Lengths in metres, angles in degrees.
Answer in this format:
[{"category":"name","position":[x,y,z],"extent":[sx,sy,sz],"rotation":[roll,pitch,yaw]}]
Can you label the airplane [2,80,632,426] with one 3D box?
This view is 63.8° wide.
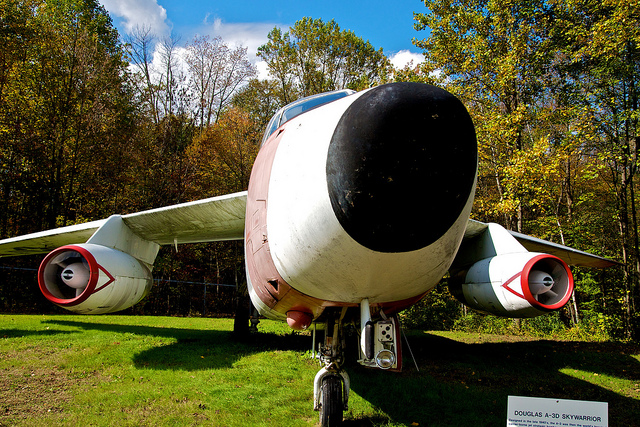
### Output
[{"category":"airplane","position":[-0.647,1.065,21.567],"extent":[15.929,6.773,15.818],"rotation":[0,-9,-6]}]
